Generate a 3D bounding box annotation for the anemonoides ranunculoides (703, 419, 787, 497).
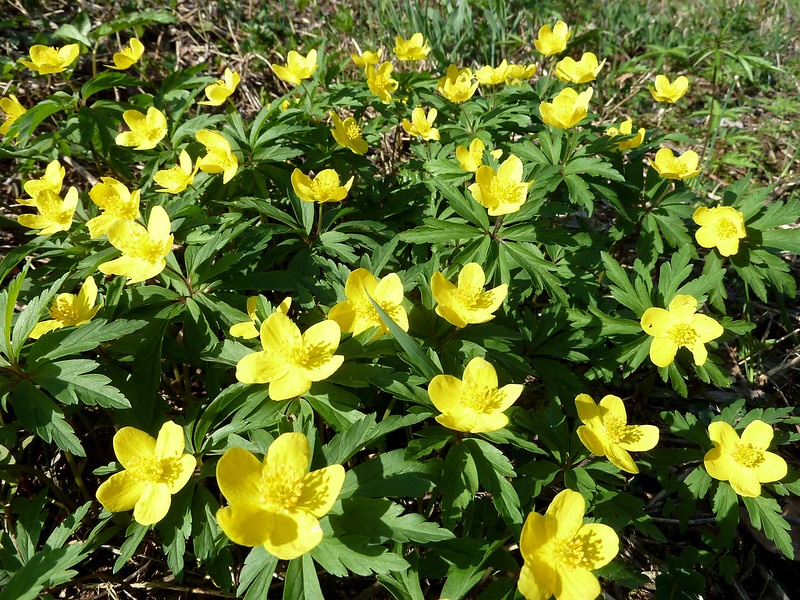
[{"bbox_3d":[2.195,0.985,4.111,0.457,0.224,0.489,-21,64,-17],"label":"anemonoides ranunculoides"}]
